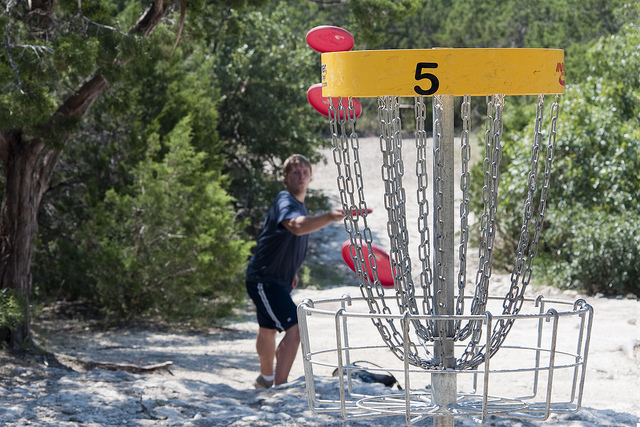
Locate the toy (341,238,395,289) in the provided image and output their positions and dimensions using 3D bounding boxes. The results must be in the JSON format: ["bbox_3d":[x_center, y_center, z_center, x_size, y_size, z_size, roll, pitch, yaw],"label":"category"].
[{"bbox_3d":[0.596,0.716,26.171,1.005,0.872,0.526,0,4,44],"label":"toy"}]

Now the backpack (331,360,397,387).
[{"bbox_3d":[0.686,2.425,27.719,0.947,0.445,0.838,0,3,-3],"label":"backpack"}]

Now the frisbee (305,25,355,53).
[{"bbox_3d":[0.133,-2.486,25.595,0.672,0.384,0.408,0,3,6],"label":"frisbee"}]

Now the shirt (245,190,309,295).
[{"bbox_3d":[-0.661,0.358,28.085,0.821,1.683,1.749,5,8,-7],"label":"shirt"}]
